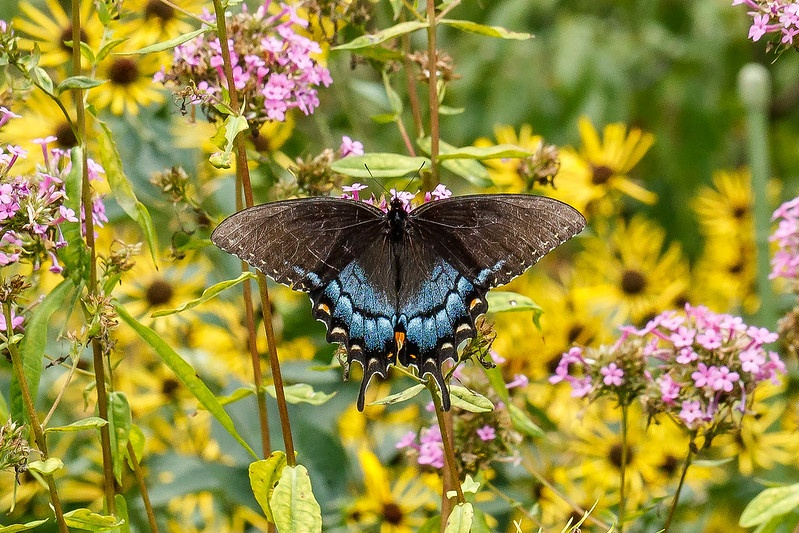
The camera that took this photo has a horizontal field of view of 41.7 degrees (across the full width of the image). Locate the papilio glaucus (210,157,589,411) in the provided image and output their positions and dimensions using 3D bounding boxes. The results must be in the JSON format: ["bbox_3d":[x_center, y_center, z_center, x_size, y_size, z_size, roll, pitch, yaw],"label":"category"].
[{"bbox_3d":[-0.022,0.054,2.729,0.713,0.112,0.456,1,87,2],"label":"papilio glaucus"}]
